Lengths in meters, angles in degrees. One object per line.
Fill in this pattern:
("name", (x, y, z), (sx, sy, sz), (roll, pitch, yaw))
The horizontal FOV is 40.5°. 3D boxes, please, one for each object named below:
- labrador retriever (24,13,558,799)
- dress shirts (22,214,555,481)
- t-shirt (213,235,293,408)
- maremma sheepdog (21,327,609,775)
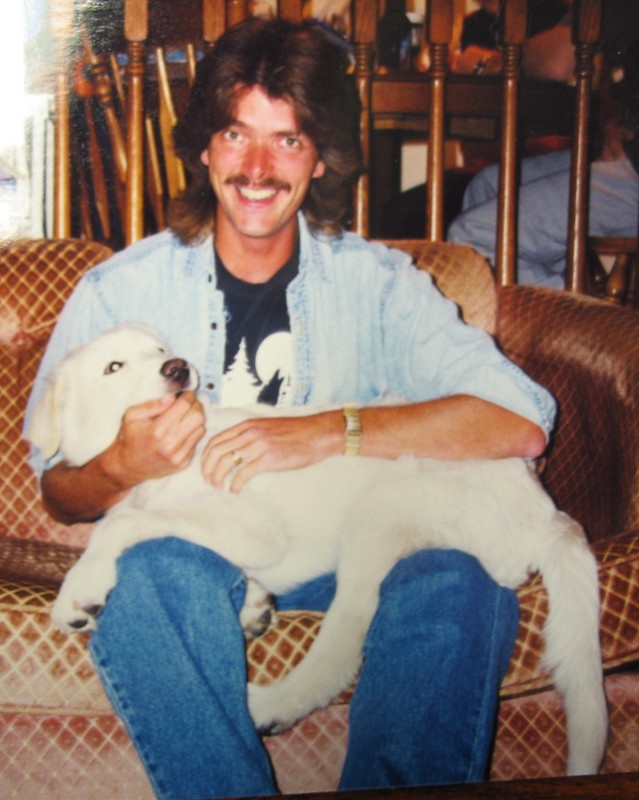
("labrador retriever", (0.093, 0.113, 1.822), (1.165, 1.465, 1.166), (-1, 19, -18))
("dress shirts", (-0.117, -0.212, 1.876), (1.009, 0.591, 0.603), (-3, 18, -19))
("t-shirt", (-0.129, -0.140, 1.836), (0.186, 0.377, 0.068), (-7, 35, -16))
("maremma sheepdog", (-0.049, 0.207, 1.933), (1.266, 0.842, 0.895), (-3, 17, -12))
